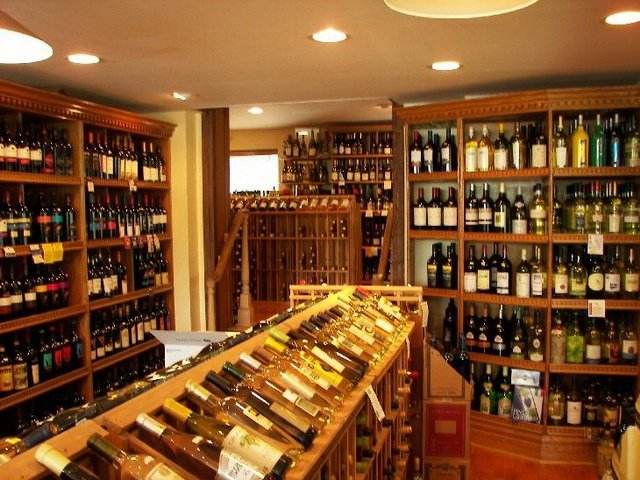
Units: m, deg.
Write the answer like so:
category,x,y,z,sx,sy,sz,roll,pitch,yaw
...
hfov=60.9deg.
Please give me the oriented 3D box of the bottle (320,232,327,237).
category,x,y,z,sx,sy,sz,roll,pitch,yaw
bottle,0.046,-0.069,7.701,0.085,0.100,0.049,-1,-12,3

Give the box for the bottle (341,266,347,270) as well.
category,x,y,z,sx,sy,sz,roll,pitch,yaw
bottle,0.340,0.398,7.732,0.046,0.055,0.088,5,6,18

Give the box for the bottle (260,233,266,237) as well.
category,x,y,z,sx,sy,sz,roll,pitch,yaw
bottle,-0.850,-0.070,8.036,0.074,0.066,0.045,-3,3,2

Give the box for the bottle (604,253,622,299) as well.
category,x,y,z,sx,sy,sz,roll,pitch,yaw
bottle,2.233,0.278,4.168,0.114,0.304,0.173,3,6,37

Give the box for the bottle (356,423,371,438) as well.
category,x,y,z,sx,sy,sz,roll,pitch,yaw
bottle,0.201,0.886,2.525,0.058,0.070,0.116,3,-4,3

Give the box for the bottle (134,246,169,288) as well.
category,x,y,z,sx,sy,sz,roll,pitch,yaw
bottle,-1.606,0.266,5.152,0.145,0.545,0.359,-1,1,23

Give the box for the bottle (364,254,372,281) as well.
category,x,y,z,sx,sy,sz,roll,pitch,yaw
bottle,0.750,0.441,8.580,0.129,0.317,0.245,0,5,5

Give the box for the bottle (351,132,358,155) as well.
category,x,y,z,sx,sy,sz,roll,pitch,yaw
bottle,0.585,-1.608,9.163,0.089,0.338,0.101,-1,5,-4

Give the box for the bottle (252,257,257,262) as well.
category,x,y,z,sx,sy,sz,roll,pitch,yaw
bottle,-0.976,0.298,8.111,0.015,0.069,0.064,2,3,-32

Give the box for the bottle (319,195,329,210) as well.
category,x,y,z,sx,sy,sz,roll,pitch,yaw
bottle,0.064,-0.524,7.634,0.134,0.170,0.168,-1,5,0

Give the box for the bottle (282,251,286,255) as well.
category,x,y,z,sx,sy,sz,roll,pitch,yaw
bottle,-0.530,0.202,8.025,0.069,0.079,0.040,1,-6,-3

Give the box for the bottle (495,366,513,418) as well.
category,x,y,z,sx,sy,sz,roll,pitch,yaw
bottle,1.487,1.214,4.400,0.107,0.405,0.135,0,5,8

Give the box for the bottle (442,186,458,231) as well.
category,x,y,z,sx,sy,sz,roll,pitch,yaw
bottle,1.105,-0.274,4.644,0.126,0.346,0.289,0,6,13

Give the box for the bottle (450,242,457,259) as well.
category,x,y,z,sx,sy,sz,roll,pitch,yaw
bottle,1.143,0.090,4.658,0.047,0.123,0.151,0,6,14

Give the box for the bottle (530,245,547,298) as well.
category,x,y,z,sx,sy,sz,roll,pitch,yaw
bottle,1.741,0.241,4.361,0.117,0.384,0.268,1,6,18

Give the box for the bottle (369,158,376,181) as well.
category,x,y,z,sx,sy,sz,roll,pitch,yaw
bottle,0.880,-1.163,9.127,0.115,0.337,0.141,0,5,6

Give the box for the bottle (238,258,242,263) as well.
category,x,y,z,sx,sy,sz,roll,pitch,yaw
bottle,-1.177,0.303,7.985,0.015,0.065,0.060,0,-2,-44

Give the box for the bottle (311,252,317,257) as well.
category,x,y,z,sx,sy,sz,roll,pitch,yaw
bottle,-0.091,0.202,7.781,0.072,0.073,0.016,-1,5,-3

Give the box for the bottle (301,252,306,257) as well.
category,x,y,z,sx,sy,sz,roll,pitch,yaw
bottle,-0.242,0.213,7.884,0.051,0.108,0.052,1,-7,0

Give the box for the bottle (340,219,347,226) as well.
category,x,y,z,sx,sy,sz,roll,pitch,yaw
bottle,0.321,-0.242,7.554,0.066,0.079,0.132,1,5,17

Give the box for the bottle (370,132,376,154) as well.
category,x,y,z,sx,sy,sz,roll,pitch,yaw
bottle,0.894,-1.615,9.130,0.142,0.320,0.077,1,5,17

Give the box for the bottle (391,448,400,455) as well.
category,x,y,z,sx,sy,sz,roll,pitch,yaw
bottle,0.423,1.179,3.041,0.043,0.017,0.043,4,7,-1

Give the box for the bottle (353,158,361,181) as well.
category,x,y,z,sx,sy,sz,roll,pitch,yaw
bottle,0.627,-1.175,9.169,0.126,0.374,0.275,0,5,4

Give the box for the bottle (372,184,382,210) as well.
category,x,y,z,sx,sy,sz,roll,pitch,yaw
bottle,0.953,-0.726,9.101,0.157,0.379,0.357,0,5,8

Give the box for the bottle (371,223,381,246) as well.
category,x,y,z,sx,sy,sz,roll,pitch,yaw
bottle,0.893,-0.084,8.593,0.138,0.349,0.117,0,5,6

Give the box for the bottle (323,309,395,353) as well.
category,x,y,z,sx,sy,sz,roll,pitch,yaw
bottle,0.221,0.495,2.801,0.226,0.073,0.243,9,18,-3

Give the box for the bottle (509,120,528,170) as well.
category,x,y,z,sx,sy,sz,roll,pitch,yaw
bottle,1.587,-0.752,4.374,0.124,0.374,0.327,1,6,23

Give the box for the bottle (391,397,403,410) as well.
category,x,y,z,sx,sy,sz,roll,pitch,yaw
bottle,0.421,0.913,3.044,0.075,0.083,0.026,-1,7,-44

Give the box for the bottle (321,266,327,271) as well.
category,x,y,z,sx,sy,sz,roll,pitch,yaw
bottle,0.060,0.406,7.781,0.079,0.053,0.053,0,6,9

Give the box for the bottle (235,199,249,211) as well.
category,x,y,z,sx,sy,sz,roll,pitch,yaw
bottle,-1.141,-0.518,7.959,0.237,0.211,0.258,-1,1,-5

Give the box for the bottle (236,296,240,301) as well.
category,x,y,z,sx,sy,sz,roll,pitch,yaw
bottle,-1.179,0.836,7.765,0.070,0.027,0.072,-14,19,5

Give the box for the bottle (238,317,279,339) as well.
category,x,y,z,sx,sy,sz,roll,pitch,yaw
bottle,-0.275,0.420,2.486,0.103,0.031,0.104,-22,14,6

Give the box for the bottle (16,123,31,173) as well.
category,x,y,z,sx,sy,sz,roll,pitch,yaw
bottle,-2.094,-0.640,3.854,0.073,0.309,0.097,-3,5,-19

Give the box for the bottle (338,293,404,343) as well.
category,x,y,z,sx,sy,sz,roll,pitch,yaw
bottle,0.316,0.440,3.106,0.241,0.082,0.253,13,28,-7

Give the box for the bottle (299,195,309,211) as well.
category,x,y,z,sx,sy,sz,roll,pitch,yaw
bottle,-0.223,-0.531,7.780,0.124,0.177,0.298,-1,6,0

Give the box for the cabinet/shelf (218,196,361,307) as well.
category,x,y,z,sx,sy,sz,roll,pitch,yaw
cabinet/shelf,-0.376,0.102,7.128,1.338,1.267,0.593,0,3,12

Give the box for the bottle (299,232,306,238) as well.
category,x,y,z,sx,sy,sz,roll,pitch,yaw
bottle,-0.255,-0.071,7.807,0.073,0.081,0.019,4,2,4

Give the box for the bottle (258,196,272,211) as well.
category,x,y,z,sx,sy,sz,roll,pitch,yaw
bottle,-0.790,-0.543,8.034,0.181,0.208,0.224,17,20,-9

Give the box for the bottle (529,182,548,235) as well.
category,x,y,z,sx,sy,sz,roll,pitch,yaw
bottle,1.730,-0.255,4.326,0.124,0.391,0.300,1,6,21

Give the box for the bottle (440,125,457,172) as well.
category,x,y,z,sx,sy,sz,roll,pitch,yaw
bottle,1.089,-0.774,4.636,0.129,0.392,0.289,0,5,13

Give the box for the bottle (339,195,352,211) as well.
category,x,y,z,sx,sy,sz,roll,pitch,yaw
bottle,0.349,-0.515,7.530,0.114,0.052,0.214,4,47,13

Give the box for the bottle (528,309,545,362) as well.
category,x,y,z,sx,sy,sz,roll,pitch,yaw
bottle,1.723,0.787,4.347,0.116,0.303,0.283,1,6,21

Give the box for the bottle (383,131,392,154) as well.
category,x,y,z,sx,sy,sz,roll,pitch,yaw
bottle,1.115,-1.599,9.039,0.124,0.361,0.176,-1,5,1

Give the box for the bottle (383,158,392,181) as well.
category,x,y,z,sx,sy,sz,roll,pitch,yaw
bottle,1.117,-1.176,9.057,0.123,0.336,0.203,0,5,7

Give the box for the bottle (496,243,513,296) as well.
category,x,y,z,sx,sy,sz,roll,pitch,yaw
bottle,1.509,0.229,4.480,0.116,0.394,0.330,1,6,20

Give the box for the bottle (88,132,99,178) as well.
category,x,y,z,sx,sy,sz,roll,pitch,yaw
bottle,-1.867,-0.697,4.472,0.054,0.356,0.146,0,5,11
